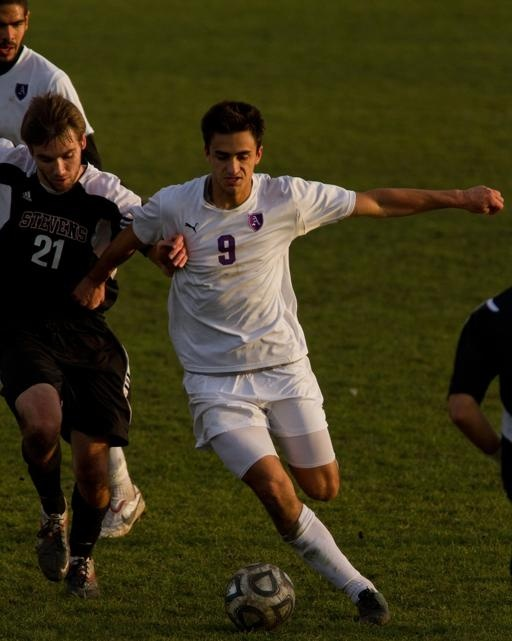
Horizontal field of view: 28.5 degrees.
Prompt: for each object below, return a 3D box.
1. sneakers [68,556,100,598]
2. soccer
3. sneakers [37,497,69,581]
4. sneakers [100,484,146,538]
[{"bbox_3d":[-0.899,1.337,5.317,0.112,0.100,0.275,-6,25,-20],"label":"sneakers"},{"bbox_3d":[0.022,1.325,4.815,0.325,0.291,0.358,-11,5,22],"label":"soccer"},{"bbox_3d":[-1.071,1.199,5.450,0.161,0.380,0.166,-3,-15,-13],"label":"sneakers"},{"bbox_3d":[-0.774,1.115,6.033,0.158,0.168,0.377,6,41,25],"label":"sneakers"}]
